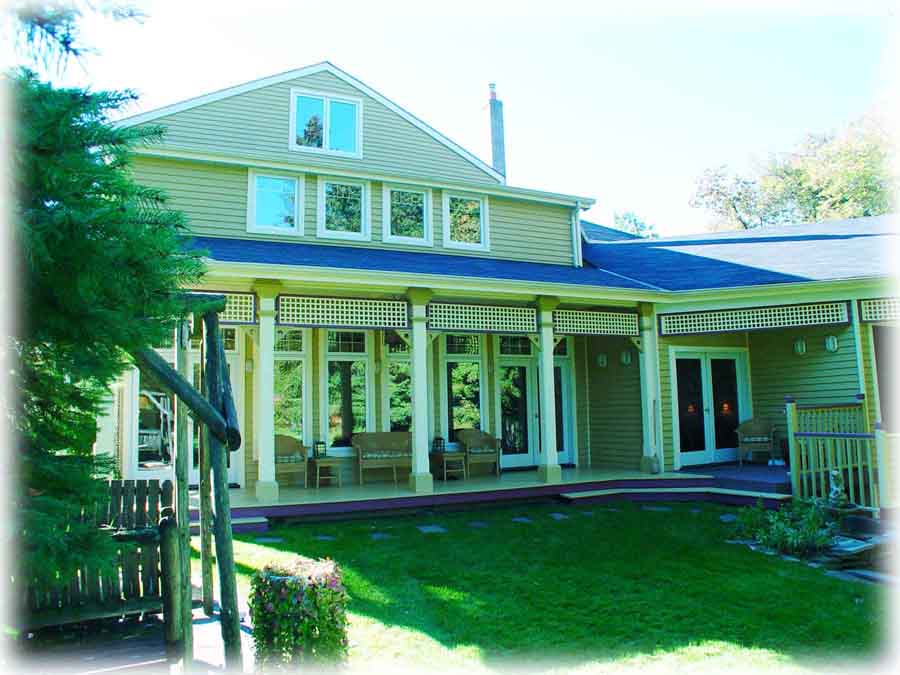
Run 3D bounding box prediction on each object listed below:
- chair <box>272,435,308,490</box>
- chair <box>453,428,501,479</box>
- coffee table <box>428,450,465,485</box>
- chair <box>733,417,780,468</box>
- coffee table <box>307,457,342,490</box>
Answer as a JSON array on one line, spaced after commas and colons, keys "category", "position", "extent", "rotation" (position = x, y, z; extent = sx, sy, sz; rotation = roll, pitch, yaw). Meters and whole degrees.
[{"category": "chair", "position": [-2.695, 2.058, 13.600], "extent": [0.627, 0.833, 0.448], "rotation": [2, 0, -35]}, {"category": "chair", "position": [0.466, 2.109, 15.265], "extent": [0.760, 0.882, 0.773], "rotation": [0, -7, -18]}, {"category": "coffee table", "position": [-0.047, 2.295, 14.715], "extent": [0.601, 0.508, 0.736], "rotation": [1, 0, -9]}, {"category": "chair", "position": [5.941, 2.003, 16.044], "extent": [0.752, 0.881, 0.718], "rotation": [-7, -9, 44]}, {"category": "coffee table", "position": [-2.069, 2.243, 13.894], "extent": [0.526, 0.522, 1.126], "rotation": [1, 0, -9]}]
